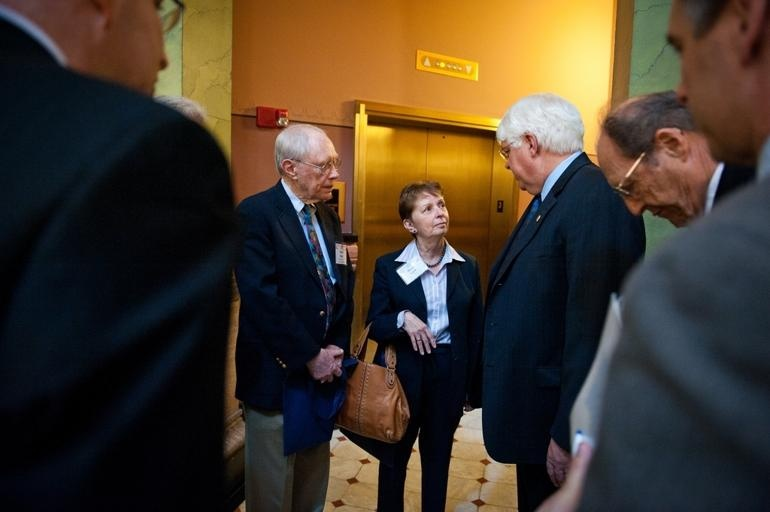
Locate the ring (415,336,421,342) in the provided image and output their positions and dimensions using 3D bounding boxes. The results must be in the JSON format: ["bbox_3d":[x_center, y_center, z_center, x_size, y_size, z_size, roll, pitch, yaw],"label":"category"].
[{"bbox_3d":[0.133,0.337,2.345,0.022,0.017,0.006,0,11,-7],"label":"ring"}]

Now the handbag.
[{"bbox_3d":[-0.043,0.569,2.311,0.312,0.436,0.132,3,-19,36],"label":"handbag"}]

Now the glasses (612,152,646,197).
[{"bbox_3d":[0.691,-0.232,1.634,0.022,0.087,0.079,29,3,2],"label":"glasses"}]

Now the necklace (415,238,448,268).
[{"bbox_3d":[0.218,-0.013,2.648,0.103,0.141,0.121,0,45,-6],"label":"necklace"}]
